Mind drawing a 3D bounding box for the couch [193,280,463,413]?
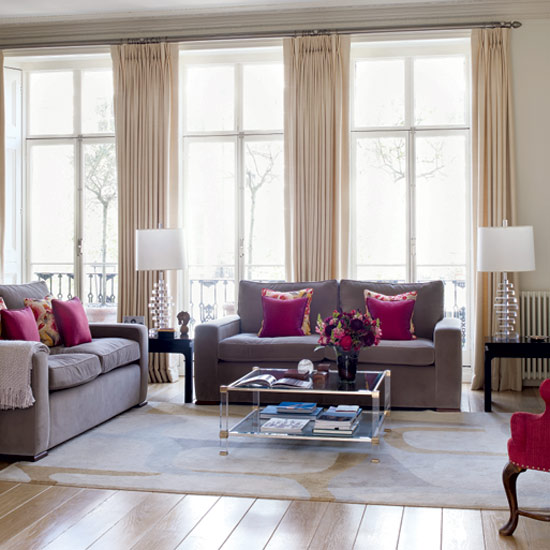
[{"bbox_3d":[0.459,0.566,4.594,2.036,1.084,0.906,-1,-6,15],"label":"couch"}]

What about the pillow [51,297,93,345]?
[{"bbox_3d":[-1.477,0.341,4.141,0.179,0.368,0.433,-5,-6,-8],"label":"pillow"}]

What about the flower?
[{"bbox_3d":[0.445,0.343,3.416,0.272,0.218,0.297,7,-5,-35],"label":"flower"}]

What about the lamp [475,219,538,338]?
[{"bbox_3d":[1.805,0.047,4.422,0.498,0.848,0.525,-2,-11,13],"label":"lamp"}]

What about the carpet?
[{"bbox_3d":[0.072,1.010,3.295,2.627,0.033,1.554,0,0,9],"label":"carpet"}]

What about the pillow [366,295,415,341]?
[{"bbox_3d":[0.871,0.337,4.246,0.296,0.322,0.107,0,-19,8],"label":"pillow"}]

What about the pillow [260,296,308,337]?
[{"bbox_3d":[0.077,0.348,4.596,0.271,0.268,0.102,0,-14,7],"label":"pillow"}]

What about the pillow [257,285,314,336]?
[{"bbox_3d":[0.093,0.316,4.660,0.347,0.367,0.135,-1,-17,4],"label":"pillow"}]

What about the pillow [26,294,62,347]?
[{"bbox_3d":[-1.618,0.321,3.981,0.109,0.288,0.275,-25,-12,21],"label":"pillow"}]

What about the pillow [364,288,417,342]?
[{"bbox_3d":[0.921,0.348,4.494,0.378,0.414,0.207,1,14,20],"label":"pillow"}]

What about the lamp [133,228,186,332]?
[{"bbox_3d":[-1.023,0.039,4.950,0.390,0.873,0.725,0,0,-14],"label":"lamp"}]

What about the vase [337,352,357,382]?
[{"bbox_3d":[0.423,0.553,3.346,0.147,0.232,0.151,0,-6,1],"label":"vase"}]
